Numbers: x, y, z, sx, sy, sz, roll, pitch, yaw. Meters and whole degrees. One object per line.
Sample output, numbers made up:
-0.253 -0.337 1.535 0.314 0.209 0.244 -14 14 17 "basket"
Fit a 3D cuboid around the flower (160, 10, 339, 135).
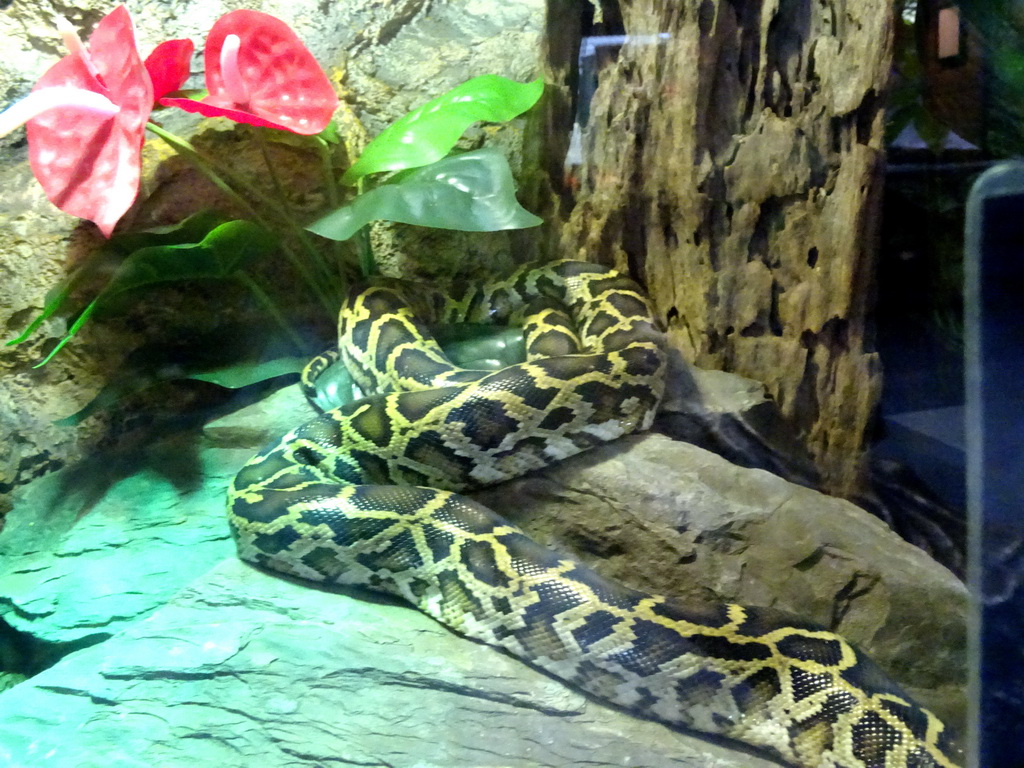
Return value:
-1.381 -1.609 5.905 0.838 0.343 0.622 -15 66 -23 "flower"
